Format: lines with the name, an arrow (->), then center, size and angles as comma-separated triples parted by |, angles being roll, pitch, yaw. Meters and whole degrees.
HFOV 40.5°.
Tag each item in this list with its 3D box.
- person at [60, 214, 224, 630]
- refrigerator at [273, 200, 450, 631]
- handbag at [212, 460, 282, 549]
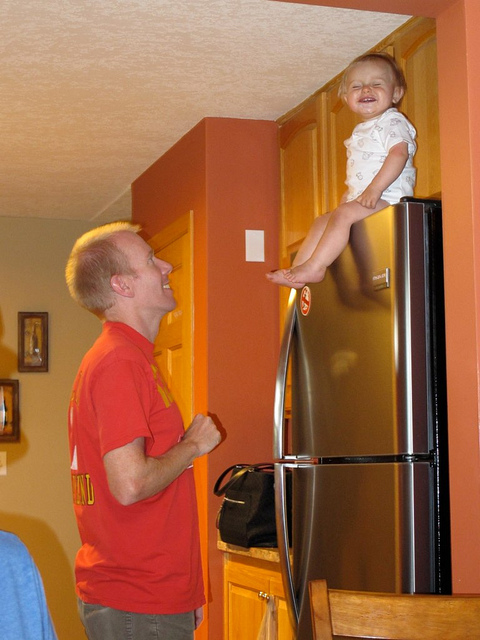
person -> -0.203, 0.187, 1.396 | 0.310, 0.888, 0.392 | -2, -5, -22
refrigerator -> 0.280, 0.259, 1.617 | 0.240, 1.041, 0.506 | -1, -5, -34
handbag -> 0.042, 0.675, 2.433 | 0.277, 0.292, 0.257 | 12, -13, -44
